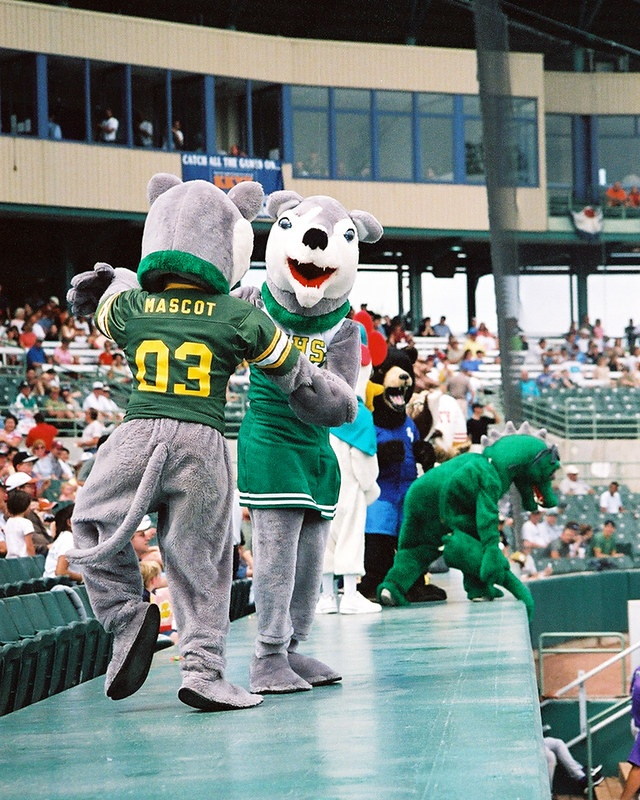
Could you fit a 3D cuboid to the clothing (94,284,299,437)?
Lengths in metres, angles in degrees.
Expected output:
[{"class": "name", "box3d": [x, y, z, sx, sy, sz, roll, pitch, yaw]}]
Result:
[{"class": "clothing", "box3d": [-0.440, -0.139, 4.903, 0.746, 0.479, 0.415, 8, 8, 14]}]

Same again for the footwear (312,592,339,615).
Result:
[{"class": "footwear", "box3d": [0.015, 0.945, 7.033, 0.074, 0.143, 0.204, 1, -1, -4]}]

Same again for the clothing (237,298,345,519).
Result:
[{"class": "clothing", "box3d": [-0.086, 0.081, 5.336, 0.451, 0.860, 0.303, -1, -6, 32]}]

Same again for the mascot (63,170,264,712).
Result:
[{"class": "mascot", "box3d": [-0.486, 0.106, 4.774, 0.585, 1.673, 0.655, 0, 4, -6]}]

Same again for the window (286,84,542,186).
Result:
[{"class": "window", "box3d": [0.915, -4.307, 24.347, 4.553, 1.748, 0.124, 8, 21, 44]}]

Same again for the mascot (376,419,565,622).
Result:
[{"class": "mascot", "box3d": [0.745, 0.578, 7.190, 0.877, 0.885, 0.687, -1, 4, -12]}]

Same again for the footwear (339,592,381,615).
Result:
[{"class": "footwear", "box3d": [0.179, 0.944, 6.999, 0.209, 0.107, 0.085, 0, -1, -4]}]
